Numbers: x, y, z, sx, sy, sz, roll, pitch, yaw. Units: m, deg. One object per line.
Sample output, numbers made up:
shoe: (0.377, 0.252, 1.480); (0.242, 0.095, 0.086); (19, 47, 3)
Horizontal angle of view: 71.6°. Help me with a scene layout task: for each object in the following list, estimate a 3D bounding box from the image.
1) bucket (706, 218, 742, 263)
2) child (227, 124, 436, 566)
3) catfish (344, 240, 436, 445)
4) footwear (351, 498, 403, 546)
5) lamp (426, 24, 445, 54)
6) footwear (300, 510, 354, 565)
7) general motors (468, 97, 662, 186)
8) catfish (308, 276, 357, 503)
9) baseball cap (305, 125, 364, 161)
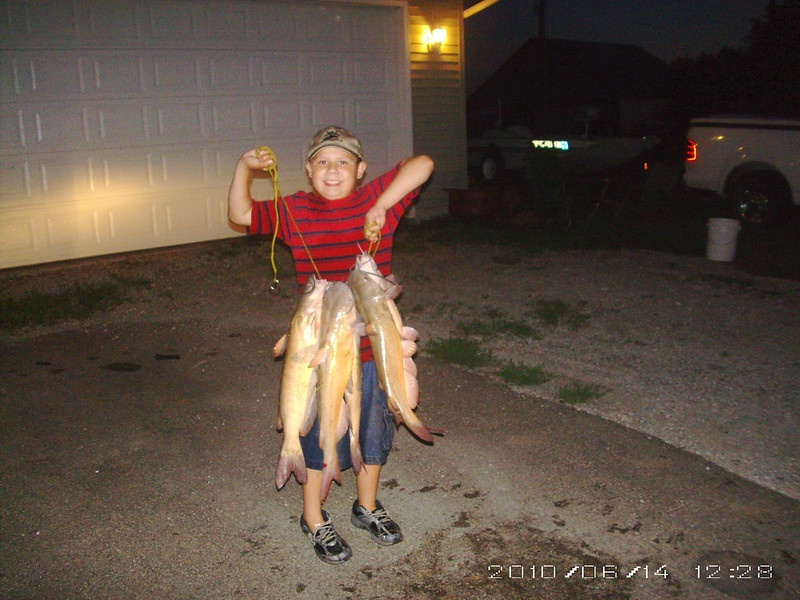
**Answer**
bucket: (5.184, -0.871, 9.058); (0.694, 0.733, 0.639); (8, -5, 1)
child: (-0.348, 0.263, 3.027); (1.155, 2.269, 0.764); (-3, 4, -14)
catfish: (-0.065, 0.218, 2.755); (0.358, 0.826, 0.602); (-3, 15, -6)
footwear: (-0.140, 1.328, 3.354); (0.194, 0.190, 0.399); (-9, 11, -43)
lamp: (0.714, -5.336, 11.360); (0.331, 0.345, 0.630); (-6, 59, 10)
footwear: (-0.434, 1.354, 3.237); (0.172, 0.148, 0.356); (-18, 36, -36)
general motors: (4.126, -3.928, 14.735); (4.722, 1.783, 2.239); (11, 14, 32)
catfish: (-0.305, 0.439, 2.725); (0.194, 1.013, 0.249); (2, 16, 13)
baseball cap: (-0.354, -0.834, 2.985); (0.292, 0.185, 0.220); (-4, 15, -10)
